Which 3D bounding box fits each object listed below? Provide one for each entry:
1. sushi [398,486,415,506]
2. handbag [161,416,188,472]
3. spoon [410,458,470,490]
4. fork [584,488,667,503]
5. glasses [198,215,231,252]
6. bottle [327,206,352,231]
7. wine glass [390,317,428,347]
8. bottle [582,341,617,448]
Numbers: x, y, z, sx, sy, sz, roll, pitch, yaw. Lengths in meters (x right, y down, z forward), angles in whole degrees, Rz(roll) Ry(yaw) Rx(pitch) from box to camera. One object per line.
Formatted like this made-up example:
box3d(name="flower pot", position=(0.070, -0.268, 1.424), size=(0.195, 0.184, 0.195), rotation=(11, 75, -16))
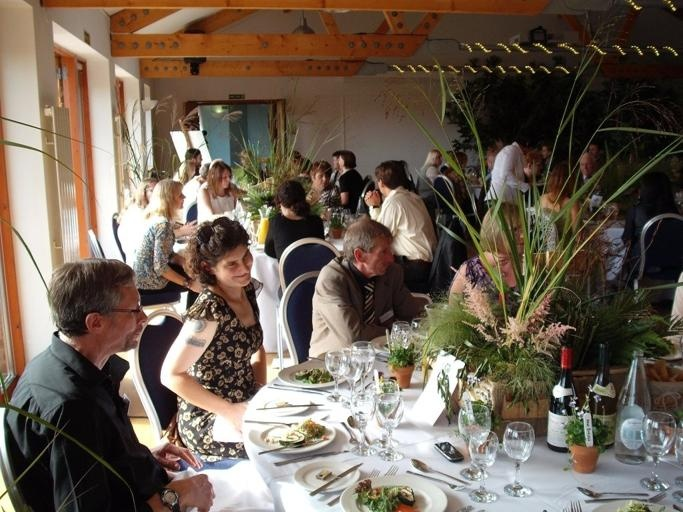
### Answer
box3d(name="sushi", position=(0.170, 0.632, 1.332), size=(0.029, 0.033, 0.036), rotation=(-1, -4, -1))
box3d(name="handbag", position=(-0.680, 0.769, 2.061), size=(0.100, 0.178, 0.098), rotation=(9, 19, 22))
box3d(name="spoon", position=(0.277, 0.624, 1.444), size=(0.050, 0.027, 0.180), rotation=(-17, 14, -38))
box3d(name="fork", position=(0.751, 0.633, 1.336), size=(0.182, 0.028, 0.028), rotation=(2, 21, 9))
box3d(name="glasses", position=(-0.534, -0.095, 2.150), size=(0.103, 0.054, 0.135), rotation=(-33, 19, 22))
box3d(name="bottle", position=(-0.012, -0.422, 5.470), size=(0.259, 0.237, 0.297), rotation=(1, 1, -1))
box3d(name="wine glass", position=(0.274, 0.293, 2.013), size=(0.110, 0.100, 0.131), rotation=(0, -3, -5))
box3d(name="bottle", position=(0.782, 0.410, 1.519), size=(0.088, 0.346, 0.248), rotation=(5, 14, 28))
